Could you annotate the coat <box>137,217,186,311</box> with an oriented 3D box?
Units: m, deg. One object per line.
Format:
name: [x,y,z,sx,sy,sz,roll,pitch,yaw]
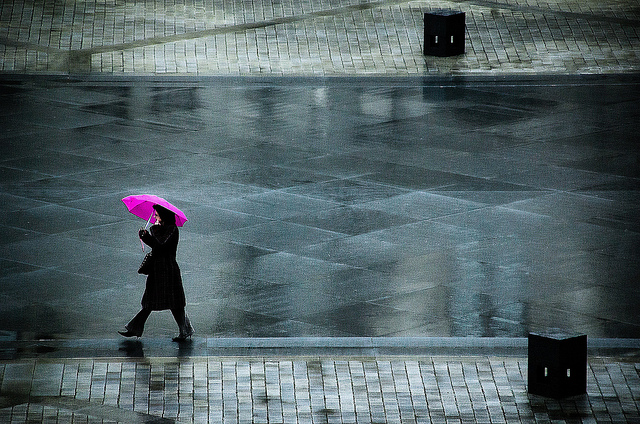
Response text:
coat: [-1.975,0.745,10.829,0.627,1.326,0.758,-10,32,-3]
